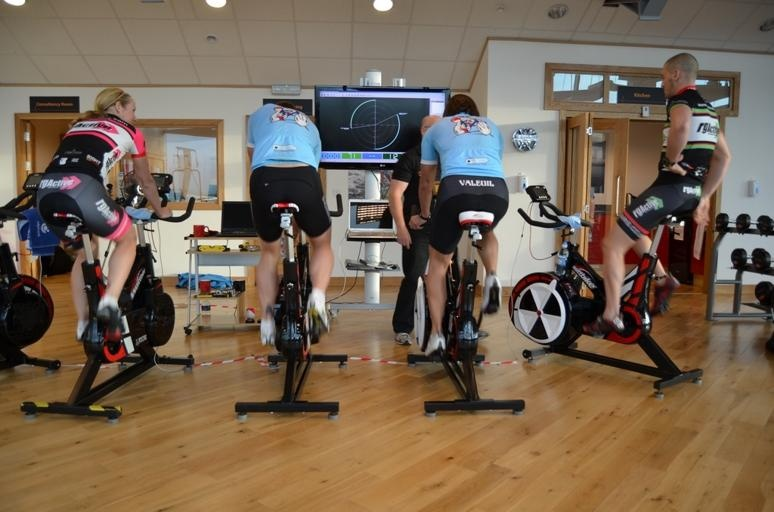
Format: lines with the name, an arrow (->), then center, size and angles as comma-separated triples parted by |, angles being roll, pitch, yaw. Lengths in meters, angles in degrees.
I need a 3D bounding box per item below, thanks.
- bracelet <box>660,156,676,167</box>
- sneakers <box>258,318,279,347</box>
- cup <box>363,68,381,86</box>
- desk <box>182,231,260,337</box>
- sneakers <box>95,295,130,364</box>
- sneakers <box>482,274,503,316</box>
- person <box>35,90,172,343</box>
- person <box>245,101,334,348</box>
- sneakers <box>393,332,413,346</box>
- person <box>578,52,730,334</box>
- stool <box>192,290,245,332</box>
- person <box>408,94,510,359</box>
bracelet -> 2.201, -0.736, 4.668 | 0.092, 0.044, 0.068 | 13, -9, 8
sneakers -> -0.857, 0.551, 4.322 | 0.101, 0.194, 0.061 | 1, -10, -10
cup -> -0.149, -1.988, 6.655 | 0.154, 0.241, 0.422 | 0, 6, 6
desk -> -1.818, 0.329, 6.586 | 1.086, 0.929, 0.694 | 1, 10, -3
sneakers -> -1.990, 0.539, 4.358 | 0.185, 0.514, 0.255 | -3, 6, -19
sneakers -> 0.767, 0.283, 4.340 | 0.131, 0.283, 0.134 | 1, -2, 8
person -> -2.154, -0.403, 4.546 | 0.723, 1.792, 0.684 | 1, 6, 21
person -> -0.691, -0.257, 4.393 | 0.580, 1.757, 0.475 | -2, 6, -13
sneakers -> 0.158, 0.784, 5.594 | 0.104, 0.103, 0.239 | 1, -5, -7
person -> 2.249, -0.515, 4.834 | 1.228, 2.263, 0.452 | -3, 6, -24
stool -> -1.755, 0.505, 6.457 | 0.548, 0.321, 0.552 | 1, 6, 1
person -> 0.559, -0.234, 4.433 | 0.628, 1.981, 0.594 | 0, 5, 3
